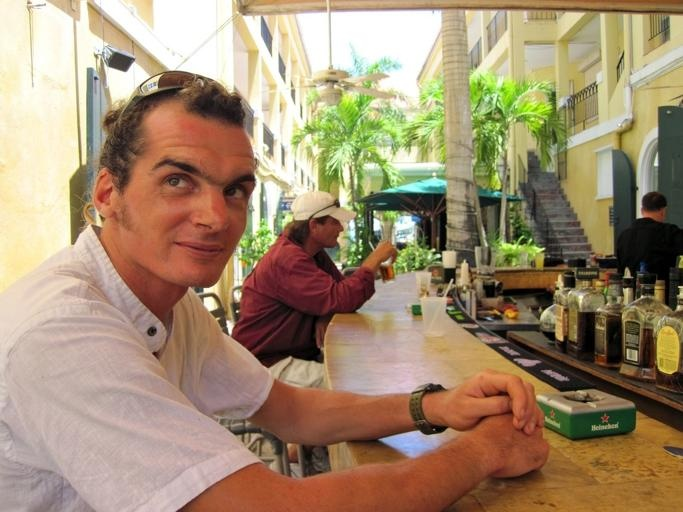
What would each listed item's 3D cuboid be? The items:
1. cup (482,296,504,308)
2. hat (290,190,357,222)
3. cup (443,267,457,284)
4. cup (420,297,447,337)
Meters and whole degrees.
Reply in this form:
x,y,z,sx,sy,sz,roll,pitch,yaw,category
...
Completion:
x,y,z,sx,sy,sz,roll,pitch,yaw,category
1.010,0.303,3.626,0.086,0.064,0.083,-2,0,0,cup
-0.146,-0.378,4.070,0.371,0.189,0.241,-4,9,-10,hat
0.820,0.150,4.114,0.103,0.117,0.105,0,4,0,cup
0.459,0.299,2.621,0.163,0.194,0.165,-3,-3,0,cup
